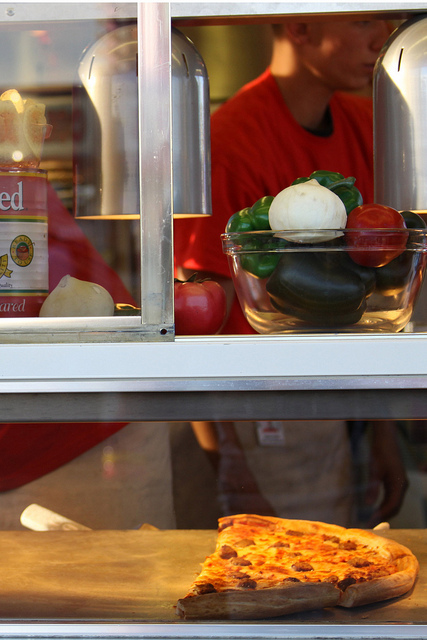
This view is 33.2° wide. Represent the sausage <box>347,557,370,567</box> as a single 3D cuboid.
[{"bbox_3d":[0.139,0.230,0.683,0.012,0.003,0.011,-2,-4,33],"label":"sausage"}]

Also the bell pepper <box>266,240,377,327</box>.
[{"bbox_3d":[0.100,-0.032,0.675,0.106,0.070,0.050,6,9,5],"label":"bell pepper"}]

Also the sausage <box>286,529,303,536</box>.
[{"bbox_3d":[0.080,0.209,0.704,0.010,0.003,0.010,7,-15,-28],"label":"sausage"}]

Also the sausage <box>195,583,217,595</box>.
[{"bbox_3d":[-0.006,0.252,0.673,0.020,0.007,0.013,-4,6,3],"label":"sausage"}]

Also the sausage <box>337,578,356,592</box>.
[{"bbox_3d":[0.123,0.246,0.668,0.016,0.008,0.007,-7,7,-24],"label":"sausage"}]

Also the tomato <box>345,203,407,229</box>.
[{"bbox_3d":[0.151,-0.095,0.682,0.045,0.028,0.047,-1,5,-17],"label":"tomato"}]

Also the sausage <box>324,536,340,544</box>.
[{"bbox_3d":[0.116,0.216,0.700,0.014,0.003,0.006,1,49,24],"label":"sausage"}]

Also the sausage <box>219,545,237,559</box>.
[{"bbox_3d":[0.015,0.230,0.707,0.015,0.004,0.013,0,8,9],"label":"sausage"}]

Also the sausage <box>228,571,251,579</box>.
[{"bbox_3d":[0.024,0.244,0.682,0.020,0.002,0.010,0,7,29],"label":"sausage"}]

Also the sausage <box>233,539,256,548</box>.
[{"bbox_3d":[0.030,0.220,0.708,0.017,0.005,0.009,-7,-8,9],"label":"sausage"}]

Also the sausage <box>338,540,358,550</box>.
[{"bbox_3d":[0.131,0.218,0.696,0.012,0.005,0.011,0,2,3],"label":"sausage"}]

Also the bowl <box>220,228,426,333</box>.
[{"bbox_3d":[0.112,-0.040,0.681,0.149,0.053,0.137,-1,-1,0],"label":"bowl"}]

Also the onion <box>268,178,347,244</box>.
[{"bbox_3d":[0.088,-0.100,0.664,0.072,0.059,0.045,-4,7,4],"label":"onion"}]

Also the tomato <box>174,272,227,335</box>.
[{"bbox_3d":[0.005,-0.021,0.785,0.067,0.059,0.065,-5,0,27],"label":"tomato"}]

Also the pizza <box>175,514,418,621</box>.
[{"bbox_3d":[0.079,0.228,0.680,0.234,0.082,0.072,-4,7,0],"label":"pizza"}]

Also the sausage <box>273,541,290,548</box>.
[{"bbox_3d":[0.067,0.223,0.711,0.010,0.002,0.009,1,-3,13],"label":"sausage"}]
